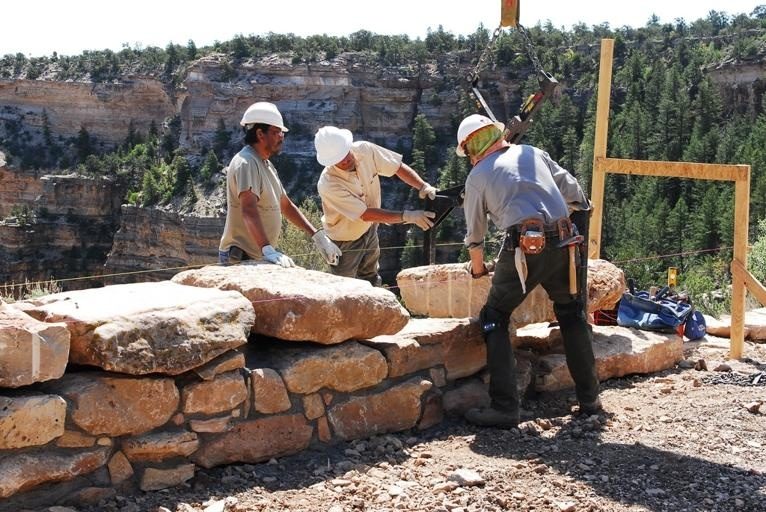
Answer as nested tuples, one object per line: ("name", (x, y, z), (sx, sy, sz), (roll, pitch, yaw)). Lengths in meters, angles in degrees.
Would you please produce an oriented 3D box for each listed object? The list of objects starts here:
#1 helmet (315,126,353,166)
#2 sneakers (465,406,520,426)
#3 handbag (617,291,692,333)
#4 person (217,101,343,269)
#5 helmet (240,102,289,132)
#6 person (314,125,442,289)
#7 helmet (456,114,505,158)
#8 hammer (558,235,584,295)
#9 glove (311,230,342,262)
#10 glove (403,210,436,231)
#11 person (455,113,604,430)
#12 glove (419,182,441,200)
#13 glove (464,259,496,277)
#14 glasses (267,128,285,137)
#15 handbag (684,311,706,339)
("helmet", (-0.502, -1.099, 8.322), (0.332, 0.217, 0.396), (-33, 35, 8))
("sneakers", (0.990, 1.442, 7.529), (0.361, 0.151, 0.196), (3, -1, -11))
("handbag", (3.030, 0.626, 9.266), (0.625, 0.239, 0.472), (-7, 13, -41))
("person", (-1.020, -0.650, 7.782), (0.903, 1.519, 0.898), (-3, 11, -23))
("helmet", (-1.152, -1.310, 7.952), (0.383, 0.217, 0.284), (-1, 7, -10))
("person", (-0.022, -0.272, 8.883), (1.255, 2.299, 0.825), (4, 33, 13))
("helmet", (0.887, -1.191, 7.783), (0.401, 0.221, 0.429), (-44, -5, 32))
("hammer", (1.696, 0.077, 7.469), (0.138, 0.545, 0.333), (9, 13, 36))
("glove", (-0.542, -0.059, 8.071), (0.100, 0.353, 0.202), (-28, 40, 14))
("glove", (0.365, -0.362, 8.554), (0.310, 0.237, 0.453), (3, 11, 7))
("person", (1.286, 0.131, 7.616), (1.317, 2.731, 0.801), (2, 10, 4))
("glove", (0.456, -0.660, 8.633), (0.150, 0.205, 0.091), (0, 3, -6))
("glove", (0.929, 0.128, 8.074), (0.241, 0.150, 0.103), (-2, -17, 1))
("glasses", (-1.032, -1.180, 7.944), (0.102, 0.040, 0.079), (12, -2, -5))
("handbag", (3.554, 0.785, 9.532), (0.109, 0.325, 0.274), (0, -5, 38))
